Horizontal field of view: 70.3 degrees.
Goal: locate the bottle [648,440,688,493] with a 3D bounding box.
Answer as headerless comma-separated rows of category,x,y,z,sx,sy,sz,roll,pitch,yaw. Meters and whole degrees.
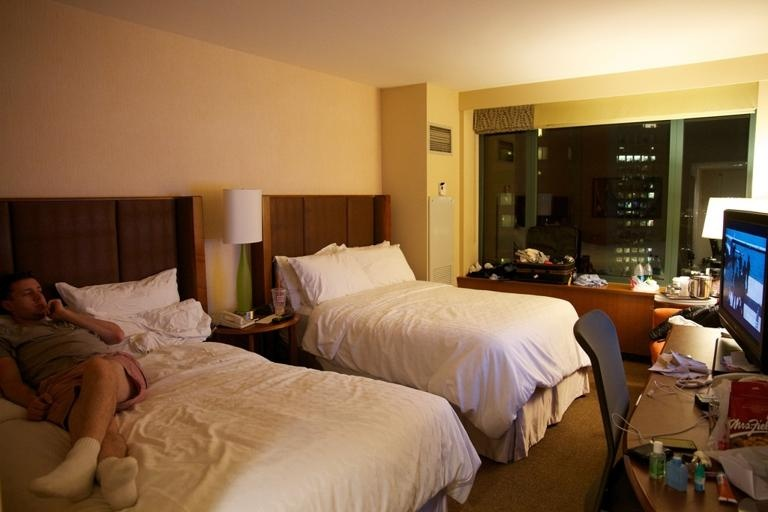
bottle,1.268,0.954,2.444,0.089,0.264,0.174,3,-4,-38

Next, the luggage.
luggage,1.931,-0.003,6.454,0.750,0.636,0.789,-1,7,6

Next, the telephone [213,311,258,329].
telephone,-1.266,0.537,4.591,0.222,0.072,0.183,3,6,27

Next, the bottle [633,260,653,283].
bottle,2.865,0.169,6.025,0.116,0.324,0.224,0,3,39

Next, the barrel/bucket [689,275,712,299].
barrel/bucket,3.015,0.305,5.219,0.243,0.256,0.154,0,1,-9

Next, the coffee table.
coffee table,-1.096,0.667,4.741,0.514,0.612,0.544,4,9,29

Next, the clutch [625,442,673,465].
clutch,1.208,0.912,2.519,0.109,0.028,0.110,-6,2,-41
